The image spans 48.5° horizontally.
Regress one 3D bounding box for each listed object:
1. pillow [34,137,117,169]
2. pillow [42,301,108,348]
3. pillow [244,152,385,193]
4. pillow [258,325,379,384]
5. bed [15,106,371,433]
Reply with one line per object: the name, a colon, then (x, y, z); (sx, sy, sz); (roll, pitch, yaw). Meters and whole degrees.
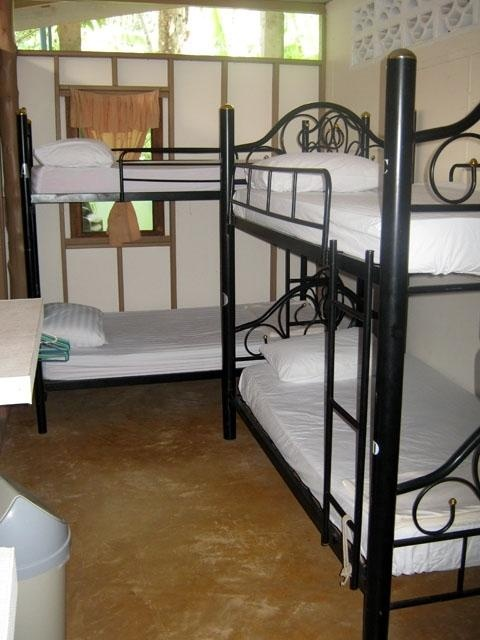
pillow: (-1.172, -1.166, 3.752); (0.339, 0.118, 0.315); (-8, 49, -19)
pillow: (-1.225, 0.139, 4.025); (0.468, 0.123, 0.488); (8, 31, -24)
pillow: (0.478, -0.808, 2.945); (0.493, 0.159, 0.532); (-1, 16, -7)
pillow: (0.499, 0.241, 3.433); (0.416, 0.135, 0.455); (-12, 20, -10)
bed: (-0.449, -0.435, 4.000); (2.731, 2.594, 1.019); (-4, 23, -10)
